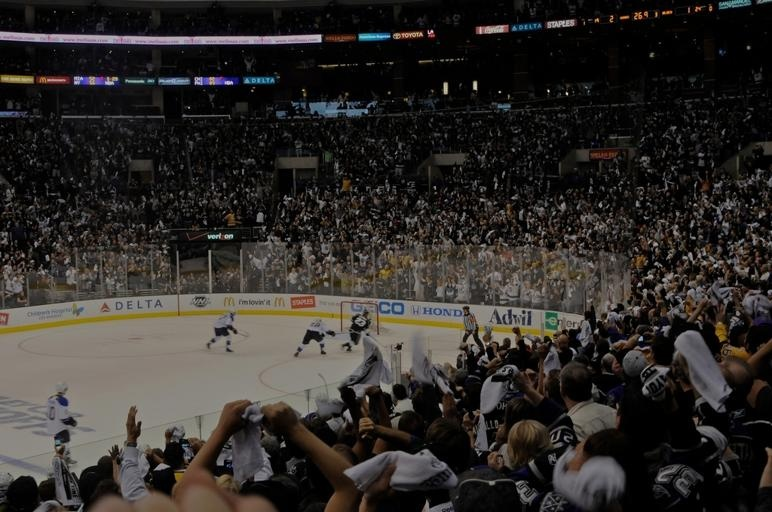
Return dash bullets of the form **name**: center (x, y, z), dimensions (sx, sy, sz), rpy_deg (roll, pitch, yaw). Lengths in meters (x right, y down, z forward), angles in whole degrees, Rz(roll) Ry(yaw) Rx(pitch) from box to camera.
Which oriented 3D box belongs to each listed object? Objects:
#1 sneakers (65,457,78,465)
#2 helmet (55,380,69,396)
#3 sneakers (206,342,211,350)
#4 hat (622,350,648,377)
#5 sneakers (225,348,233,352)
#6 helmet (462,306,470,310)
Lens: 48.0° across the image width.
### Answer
- **sneakers**: center (-8.482, 5.555, 23.381), dimensions (0.265, 0.204, 0.271), rpy_deg (-1, -3, -22)
- **helmet**: center (-8.976, 3.688, 23.958), dimensions (0.246, 0.334, 0.481), rpy_deg (-1, -3, -25)
- **sneakers**: center (-7.000, 3.571, 34.166), dimensions (0.243, 0.360, 0.134), rpy_deg (9, -1, -11)
- **hat**: center (4.961, 2.177, 17.260), dimensions (0.468, 0.529, 0.337), rpy_deg (-3, -2, 17)
- **sneakers**: center (-6.141, 3.727, 33.946), dimensions (0.283, 0.208, 0.107), rpy_deg (-2, 6, -6)
- **helmet**: center (2.989, 1.974, 32.509), dimensions (0.291, 0.101, 0.277), rpy_deg (0, 4, -8)
